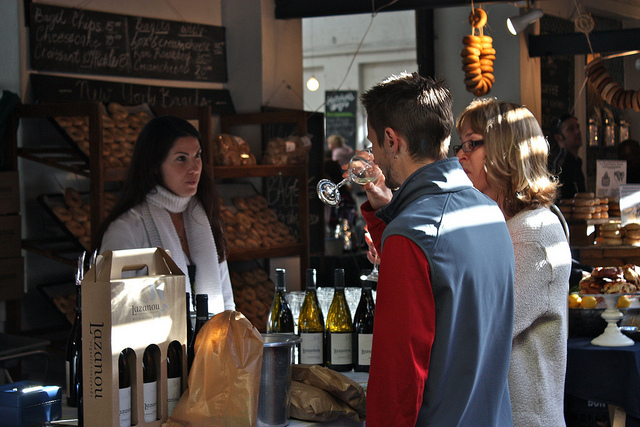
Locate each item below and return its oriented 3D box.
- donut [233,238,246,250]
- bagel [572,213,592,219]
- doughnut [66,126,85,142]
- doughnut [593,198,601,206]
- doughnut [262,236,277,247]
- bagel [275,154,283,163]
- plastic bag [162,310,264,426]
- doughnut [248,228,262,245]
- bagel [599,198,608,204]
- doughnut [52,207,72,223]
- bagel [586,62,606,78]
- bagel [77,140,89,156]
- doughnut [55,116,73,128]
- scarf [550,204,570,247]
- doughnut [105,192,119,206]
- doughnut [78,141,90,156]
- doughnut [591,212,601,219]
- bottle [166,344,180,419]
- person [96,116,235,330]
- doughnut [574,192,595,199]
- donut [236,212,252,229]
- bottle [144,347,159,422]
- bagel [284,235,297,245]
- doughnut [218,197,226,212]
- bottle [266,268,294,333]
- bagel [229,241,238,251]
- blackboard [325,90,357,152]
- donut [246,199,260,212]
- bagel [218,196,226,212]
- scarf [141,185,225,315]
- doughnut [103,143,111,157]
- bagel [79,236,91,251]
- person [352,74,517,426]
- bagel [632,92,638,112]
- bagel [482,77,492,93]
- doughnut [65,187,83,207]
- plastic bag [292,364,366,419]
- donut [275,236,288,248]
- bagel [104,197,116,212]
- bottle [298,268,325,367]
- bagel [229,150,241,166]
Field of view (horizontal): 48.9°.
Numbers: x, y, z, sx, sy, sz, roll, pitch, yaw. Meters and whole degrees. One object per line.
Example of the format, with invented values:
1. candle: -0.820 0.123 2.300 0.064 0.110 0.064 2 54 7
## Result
1. donut: -0.678 0.261 5.863 0.067 0.096 0.052 -17 15 22
2. bagel: 2.598 0.032 6.929 0.174 0.064 0.079 -7 -7 11
3. doughnut: -1.740 -0.553 4.967 0.121 0.122 0.055 -1 -8 -28
4. doughnut: 2.777 -0.105 7.011 0.064 0.041 0.067 0 30 42
5. doughnut: -0.433 0.243 6.092 0.155 0.104 0.096 1 -10 -43
6. bagel: -0.365 -0.466 6.051 0.043 0.067 0.016 0 -12 38
7. plastic bag: -0.444 0.644 2.893 0.423 0.470 0.152 -3 -7 -16
8. doughnut: -0.560 0.195 6.035 0.042 0.151 0.078 -37 -4 36
9. bagel: 2.869 -0.125 7.068 0.060 0.056 0.055 -2 9 0
10. doughnut: -1.873 0.013 5.080 0.131 0.119 0.050 -6 -7 1
11. bagel: 2.487 -1.303 6.310 0.131 0.032 0.134 -42 5 3
12. bagel: -1.671 -0.451 4.971 0.024 0.090 0.098 -19 24 29
13. doughnut: -1.822 -0.639 4.972 0.121 0.086 0.042 1 -9 -41
14. scarf: 1.187 0.057 3.468 0.071 0.186 0.265 -7 -7 18
15. doughnut: -1.518 -0.098 5.072 0.078 0.030 0.108 36 9 39
16. doughnut: -1.672 -0.468 4.956 0.028 0.112 0.115 -14 -14 22
17. doughnut: 2.752 0.027 6.970 0.063 0.041 0.067 -4 11 34
18. bottle: -0.619 0.693 2.925 0.041 0.296 0.077 -11 -9 41
19. person: -0.905 0.015 4.111 0.789 1.162 0.468 -3 -7 -19
20. doughnut: 2.636 -0.169 6.988 0.183 0.089 0.222 -9 -8 20
21. donut: -0.658 0.061 6.043 0.040 0.123 0.121 -36 3 24
22. bottle: -0.693 0.696 2.876 0.058 0.288 0.053 -5 -7 -1
23. bagel: -0.252 0.234 6.272 0.087 0.094 0.156 -11 -9 38
24. doughnut: -0.804 -0.068 5.692 0.031 0.105 0.099 -12 13 6
25. bottle: -0.214 0.453 3.623 0.133 0.327 0.428 -4 -7 -4
26. bagel: -0.721 0.267 5.793 0.064 0.089 0.098 -4 -7 -5
27. blackboard: 0.416 -1.774 13.440 0.650 1.125 0.544 -5 -7 1
28. donut: -0.600 -0.071 6.283 0.035 0.104 0.105 -37 15 18
29. bagel: -0.804 -0.069 5.685 0.045 0.120 0.114 -7 -1 13
30. scarf: -0.765 0.209 4.152 0.299 0.761 0.503 -10 -9 38
31. doughnut: -1.536 -0.448 5.015 0.021 0.073 0.070 -27 -38 29
32. bagel: -1.683 0.204 5.014 0.067 0.116 0.034 -22 1 -9
33. person: 0.488 0.167 2.927 0.677 1.491 0.278 -1 -8 -27
34. bagel: 2.754 -0.963 6.117 0.030 0.127 0.105 2 -2 23
35. bagel: 1.438 -1.082 5.980 0.048 0.098 0.097 -18 23 26
36. doughnut: -1.824 -0.112 5.184 0.132 0.147 0.084 -1 -8 -32
37. plastic bag: 0.046 0.742 3.113 0.246 0.087 0.223 26 -5 20
38. donut: -0.346 0.251 6.162 0.091 0.096 0.026 4 -13 -45
39. bagel: -1.537 -0.066 5.096 0.070 0.111 0.140 -3 -8 -17
40. bottle: -0.051 0.517 3.500 0.139 0.471 0.380 -5 -7 -1
41. bagel: -0.707 -0.455 5.779 0.024 0.126 0.141 -8 -8 27
